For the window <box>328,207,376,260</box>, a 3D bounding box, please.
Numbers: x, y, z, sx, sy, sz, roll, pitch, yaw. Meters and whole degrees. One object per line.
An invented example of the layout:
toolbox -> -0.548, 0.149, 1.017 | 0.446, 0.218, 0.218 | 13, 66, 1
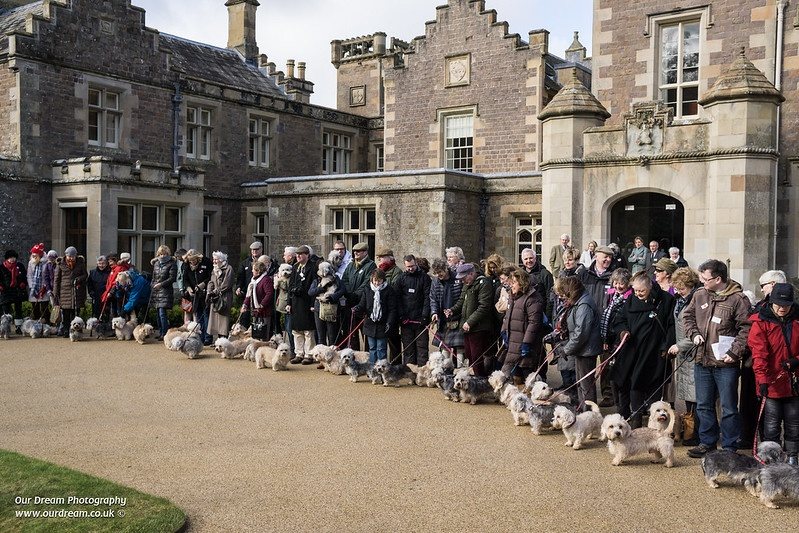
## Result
window -> -1.250, -0.935, 28.971 | 1.577, 1.852, 0.159 | 0, -1, 23

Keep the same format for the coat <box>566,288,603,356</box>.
coat -> 3.363, 0.979, 19.602 | 0.734, 1.233, 1.330 | -1, 7, 7

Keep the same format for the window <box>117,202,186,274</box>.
window -> -6.799, -0.696, 29.265 | 2.456, 2.124, 0.219 | 3, 2, 24

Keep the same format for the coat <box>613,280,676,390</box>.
coat -> 4.328, 1.460, 19.088 | 1.081, 2.431, 1.002 | 4, 11, 17

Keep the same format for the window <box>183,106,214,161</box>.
window -> -6.301, -4.193, 33.366 | 0.261, 1.960, 1.681 | 8, 7, 29

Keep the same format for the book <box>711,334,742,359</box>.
book -> 5.447, 1.381, 17.949 | 0.350, 0.413, 0.103 | 1, -2, 14

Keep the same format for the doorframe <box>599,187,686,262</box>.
doorframe -> 5.708, -1.006, 24.740 | 1.722, 1.757, 0.132 | 2, 0, 31

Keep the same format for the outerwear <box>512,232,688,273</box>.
outerwear -> 4.651, -0.467, 24.619 | 3.850, 1.398, 1.129 | 0, -5, 19

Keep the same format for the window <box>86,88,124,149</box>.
window -> -8.467, -4.292, 30.643 | 0.257, 2.027, 1.750 | 7, 5, 25

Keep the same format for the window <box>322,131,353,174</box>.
window -> -2.295, -4.113, 38.575 | 0.247, 1.562, 1.786 | 1, 0, 36

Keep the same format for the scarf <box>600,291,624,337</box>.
scarf -> 3.784, 0.862, 19.431 | 0.252, 0.719, 0.525 | 14, 4, -31

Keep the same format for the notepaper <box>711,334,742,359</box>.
notepaper -> 5.447, 1.381, 17.949 | 0.350, 0.413, 0.103 | 1, -2, 14

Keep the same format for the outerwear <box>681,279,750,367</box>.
outerwear -> 5.388, 1.003, 18.116 | 0.904, 1.599, 1.316 | 11, -9, -35

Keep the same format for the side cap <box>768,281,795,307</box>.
side cap -> 6.315, 0.463, 17.633 | 0.382, 0.380, 0.246 | 1, -2, 17

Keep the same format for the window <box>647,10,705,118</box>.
window -> 7.141, -5.087, 27.279 | 1.038, 2.504, 0.326 | 1, -2, 14

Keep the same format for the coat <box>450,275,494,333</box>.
coat -> 1.636, 0.723, 20.802 | 0.895, 1.280, 1.132 | 4, -3, -21
